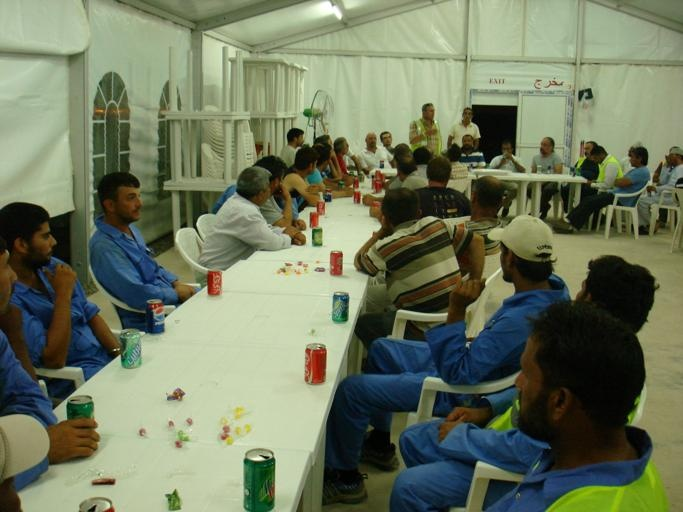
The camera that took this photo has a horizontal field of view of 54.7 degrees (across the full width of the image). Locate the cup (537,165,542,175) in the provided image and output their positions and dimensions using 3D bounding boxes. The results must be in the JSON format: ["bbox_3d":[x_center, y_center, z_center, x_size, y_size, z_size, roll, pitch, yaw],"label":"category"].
[{"bbox_3d":[3.312,-1.429,10.991,0.122,0.141,0.241,-3,0,10],"label":"cup"}]

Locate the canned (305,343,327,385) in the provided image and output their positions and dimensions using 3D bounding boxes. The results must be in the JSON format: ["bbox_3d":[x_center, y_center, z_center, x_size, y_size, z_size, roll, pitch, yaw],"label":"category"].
[{"bbox_3d":[-0.110,0.455,2.871,0.102,0.175,0.143,1,11,-5],"label":"canned"}]

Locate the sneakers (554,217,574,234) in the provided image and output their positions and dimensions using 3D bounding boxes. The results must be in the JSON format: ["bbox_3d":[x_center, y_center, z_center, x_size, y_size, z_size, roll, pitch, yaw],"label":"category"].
[{"bbox_3d":[3.591,-0.487,10.708,0.163,0.208,0.489,3,13,9],"label":"sneakers"}]

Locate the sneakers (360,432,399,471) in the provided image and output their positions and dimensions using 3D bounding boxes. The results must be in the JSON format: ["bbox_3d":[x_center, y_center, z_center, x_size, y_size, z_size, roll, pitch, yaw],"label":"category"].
[{"bbox_3d":[0.195,1.124,3.859,0.120,0.144,0.281,-13,24,-38],"label":"sneakers"}]

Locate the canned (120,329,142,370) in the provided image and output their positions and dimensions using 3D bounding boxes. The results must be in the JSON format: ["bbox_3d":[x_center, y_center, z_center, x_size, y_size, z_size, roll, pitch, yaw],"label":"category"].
[{"bbox_3d":[-0.939,0.411,2.941,0.092,0.161,0.104,-3,12,-21],"label":"canned"}]

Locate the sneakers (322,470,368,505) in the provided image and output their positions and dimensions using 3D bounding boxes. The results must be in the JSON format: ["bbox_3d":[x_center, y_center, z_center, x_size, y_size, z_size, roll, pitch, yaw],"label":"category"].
[{"bbox_3d":[0.013,1.218,3.459,0.292,0.152,0.106,4,15,-13],"label":"sneakers"}]

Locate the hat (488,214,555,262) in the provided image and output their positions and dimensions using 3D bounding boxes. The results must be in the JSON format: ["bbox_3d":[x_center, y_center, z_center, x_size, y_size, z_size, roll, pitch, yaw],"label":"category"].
[{"bbox_3d":[0.849,-0.053,3.151,0.189,0.174,0.281,-6,34,-27],"label":"hat"}]

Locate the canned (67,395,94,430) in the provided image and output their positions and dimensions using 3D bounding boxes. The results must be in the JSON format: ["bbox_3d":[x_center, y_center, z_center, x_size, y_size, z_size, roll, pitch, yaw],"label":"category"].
[{"bbox_3d":[-0.981,0.585,2.482,0.086,0.102,0.095,7,15,-12],"label":"canned"}]
